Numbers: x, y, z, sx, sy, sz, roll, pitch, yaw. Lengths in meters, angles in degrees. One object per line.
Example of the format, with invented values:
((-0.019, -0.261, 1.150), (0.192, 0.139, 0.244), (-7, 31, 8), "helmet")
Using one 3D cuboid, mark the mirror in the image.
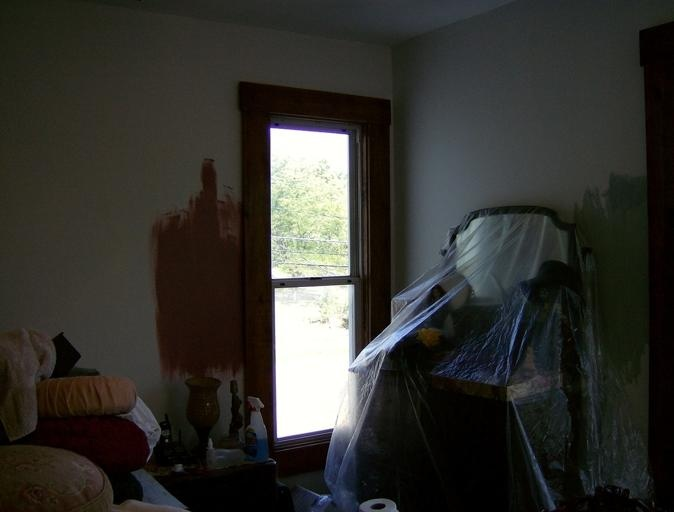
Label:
((0.922, 0.111, 2.903), (0.467, 0.480, 0.125), (2, -34, 27), "mirror")
